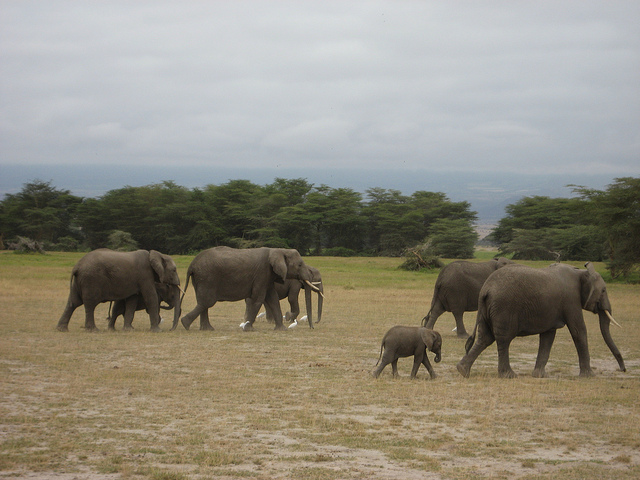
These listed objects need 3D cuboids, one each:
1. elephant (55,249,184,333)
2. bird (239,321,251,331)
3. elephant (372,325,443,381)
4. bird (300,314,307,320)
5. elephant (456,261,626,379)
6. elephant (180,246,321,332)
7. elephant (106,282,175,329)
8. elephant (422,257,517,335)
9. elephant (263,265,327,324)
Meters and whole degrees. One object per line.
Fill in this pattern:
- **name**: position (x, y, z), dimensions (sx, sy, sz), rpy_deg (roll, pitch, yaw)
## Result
- **elephant**: position (-5.483, 1.485, 25.727), dimensions (4.245, 2.305, 1.603), rpy_deg (2, -5, -34)
- **bird**: position (-2.188, 2.514, 26.428), dimensions (0.178, 0.334, 0.679), rpy_deg (-1, 10, -15)
- **elephant**: position (2.031, 2.626, 20.682), dimensions (1.548, 1.181, 0.839), rpy_deg (2, 10, 2)
- **bird**: position (-0.482, 2.535, 29.179), dimensions (0.122, 0.061, 0.175), rpy_deg (-7, 11, 41)
- **elephant**: position (5.333, 1.964, 21.456), dimensions (4.629, 2.830, 1.864), rpy_deg (2, -1, -20)
- **elephant**: position (-2.378, 1.443, 26.620), dimensions (3.489, 2.345, 1.251), rpy_deg (-1, 10, -16)
- **elephant**: position (-5.207, 1.883, 26.584), dimensions (2.685, 1.613, 1.219), rpy_deg (8, -12, -43)
- **elephant**: position (4.638, 1.670, 25.849), dimensions (4.029, 2.132, 1.368), rpy_deg (-1, 3, -27)
- **elephant**: position (-0.722, 1.877, 29.671), dimensions (2.558, 1.971, 1.162), rpy_deg (2, -6, 29)
